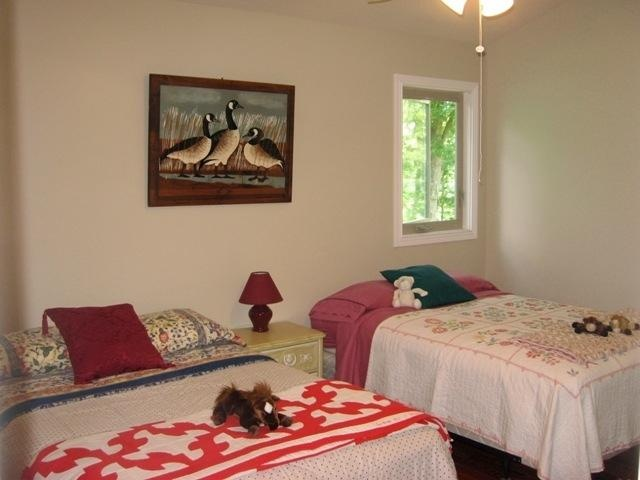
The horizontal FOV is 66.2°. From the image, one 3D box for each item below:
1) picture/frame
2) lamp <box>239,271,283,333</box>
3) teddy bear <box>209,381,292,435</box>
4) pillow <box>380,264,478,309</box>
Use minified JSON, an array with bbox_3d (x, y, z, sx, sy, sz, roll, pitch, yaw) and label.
[{"bbox_3d":[-0.656,-0.656,3.297,1.161,0.795,0.032,8,10,24],"label":"picture/frame"},{"bbox_3d":[-0.375,0.397,3.510,0.419,0.497,0.392,-2,10,-9],"label":"lamp"},{"bbox_3d":[-0.238,0.592,1.764,0.277,0.148,0.220,-1,3,-20],"label":"teddy bear"},{"bbox_3d":[0.823,0.318,3.704,0.417,0.110,0.402,-4,22,-33],"label":"pillow"}]
